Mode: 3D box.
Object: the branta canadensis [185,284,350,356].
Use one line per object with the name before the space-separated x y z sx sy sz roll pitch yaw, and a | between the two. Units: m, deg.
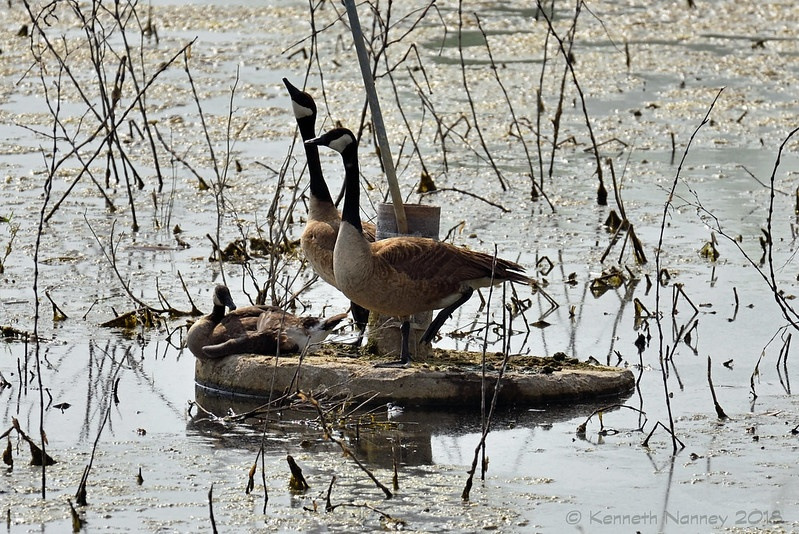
branta canadensis | -1.375 0.557 14.528 1.530 0.653 0.842 -2 -1 16
